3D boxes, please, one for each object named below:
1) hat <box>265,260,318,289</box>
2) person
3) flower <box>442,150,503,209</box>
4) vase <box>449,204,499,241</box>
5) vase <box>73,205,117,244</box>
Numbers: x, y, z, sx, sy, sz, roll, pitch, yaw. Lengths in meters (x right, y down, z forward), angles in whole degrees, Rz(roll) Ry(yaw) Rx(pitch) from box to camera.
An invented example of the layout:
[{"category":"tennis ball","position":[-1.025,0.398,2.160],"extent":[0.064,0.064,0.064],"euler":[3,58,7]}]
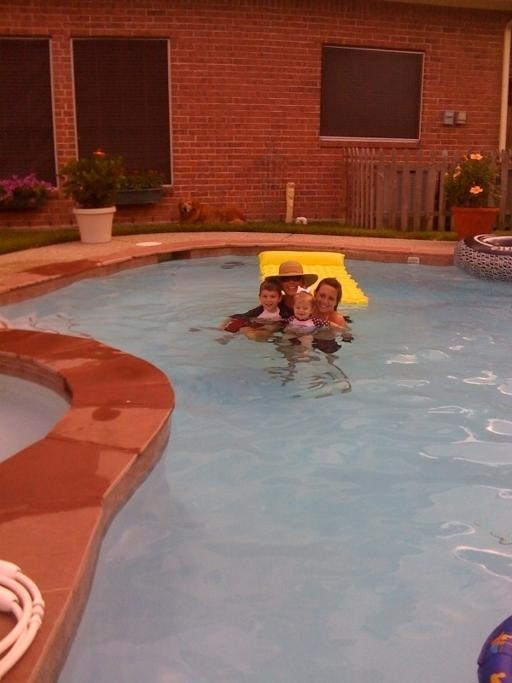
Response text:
[{"category":"hat","position":[0.356,-0.671,5.616],"extent":[0.445,0.140,0.451],"euler":[-1,-19,6]},{"category":"person","position":[0.434,-0.432,5.173],"extent":[0.667,0.583,0.769],"euler":[-6,16,-28]},{"category":"flower","position":[3.854,-2.854,9.864],"extent":[0.823,0.919,0.726],"euler":[-9,18,-37]},{"category":"vase","position":[3.862,-2.110,10.107],"extent":[1.030,0.684,0.970],"euler":[0,10,-2]},{"category":"vase","position":[-2.777,-1.971,9.594],"extent":[0.738,0.503,0.697],"euler":[-1,7,-2]}]
